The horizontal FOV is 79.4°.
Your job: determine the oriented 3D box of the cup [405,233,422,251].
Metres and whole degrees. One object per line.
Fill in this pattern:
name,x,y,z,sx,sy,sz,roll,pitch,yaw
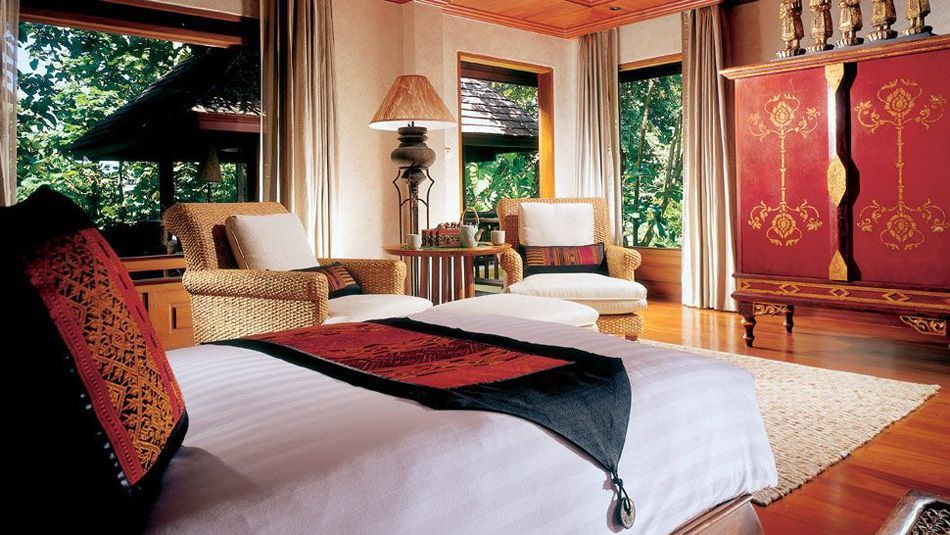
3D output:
cup,-0.440,-0.185,4.139,0.134,0.098,0.112,-1,0,43

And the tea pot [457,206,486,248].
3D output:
tea pot,-0.037,-0.281,4.126,0.259,0.265,0.152,8,17,39

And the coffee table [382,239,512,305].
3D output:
coffee table,-0.191,0.033,4.297,0.694,0.441,0.661,-9,-8,-28

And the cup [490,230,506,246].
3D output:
cup,0.179,-0.232,4.452,0.103,0.090,0.124,-2,3,-15

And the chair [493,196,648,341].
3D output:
chair,0.777,-0.049,4.558,1.211,1.023,1.229,2,7,39
